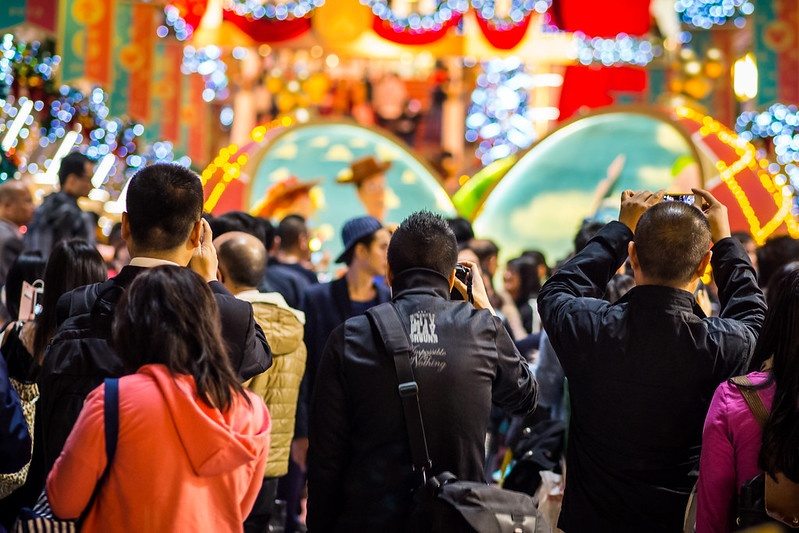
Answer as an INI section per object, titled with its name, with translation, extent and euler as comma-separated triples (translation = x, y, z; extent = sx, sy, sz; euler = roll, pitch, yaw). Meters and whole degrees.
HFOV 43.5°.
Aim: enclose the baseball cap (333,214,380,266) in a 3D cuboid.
[baseball cap]
translation = -0.305, -0.241, 8.000
extent = 0.298, 0.210, 0.399
euler = -15, -2, 12
